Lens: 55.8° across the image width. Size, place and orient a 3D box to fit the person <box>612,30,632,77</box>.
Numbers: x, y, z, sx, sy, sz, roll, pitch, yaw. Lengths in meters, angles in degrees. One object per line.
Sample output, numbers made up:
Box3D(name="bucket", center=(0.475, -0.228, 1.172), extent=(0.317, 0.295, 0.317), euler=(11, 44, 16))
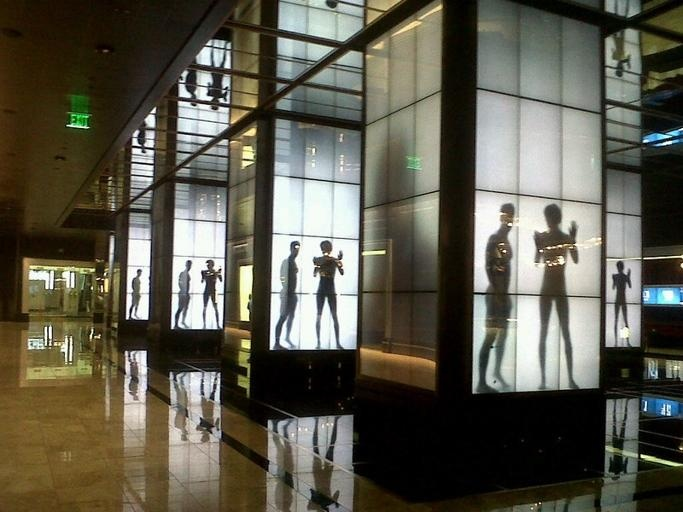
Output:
Box3D(name="person", center=(5.800, -4.281, 13.517), extent=(0.361, 0.811, 0.285), euler=(4, 26, 34))
